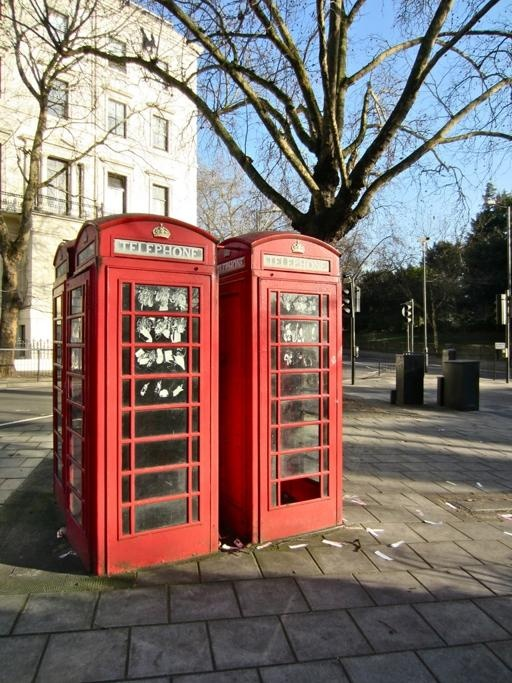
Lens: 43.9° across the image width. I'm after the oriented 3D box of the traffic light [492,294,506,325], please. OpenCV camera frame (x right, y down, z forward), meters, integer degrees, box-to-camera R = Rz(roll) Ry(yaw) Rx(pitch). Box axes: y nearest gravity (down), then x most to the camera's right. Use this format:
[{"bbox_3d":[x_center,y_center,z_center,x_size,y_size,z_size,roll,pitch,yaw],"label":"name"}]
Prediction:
[{"bbox_3d":[7.813,-1.063,20.296,0.315,0.962,1.283,1,1,23],"label":"traffic light"}]
